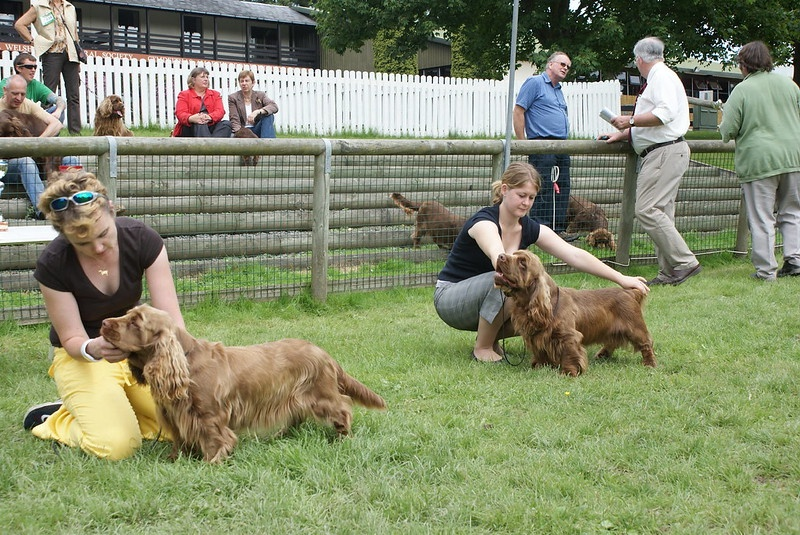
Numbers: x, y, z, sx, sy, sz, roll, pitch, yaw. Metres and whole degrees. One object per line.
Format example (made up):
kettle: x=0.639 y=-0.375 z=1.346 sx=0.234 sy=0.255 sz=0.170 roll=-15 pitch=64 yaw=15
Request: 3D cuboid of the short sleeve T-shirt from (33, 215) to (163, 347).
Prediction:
short sleeve T-shirt: x=-2.352 y=0.107 z=6.750 sx=0.947 sy=0.933 sz=0.509 roll=-20 pitch=61 yaw=-36

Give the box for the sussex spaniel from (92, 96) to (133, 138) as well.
sussex spaniel: x=-3.950 y=-2.052 z=11.706 sx=0.415 sy=0.531 sz=0.579 roll=-3 pitch=11 yaw=-20

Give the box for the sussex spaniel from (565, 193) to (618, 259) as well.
sussex spaniel: x=2.563 y=-0.603 z=11.680 sx=0.389 sy=0.670 sz=1.242 roll=-9 pitch=19 yaw=-11

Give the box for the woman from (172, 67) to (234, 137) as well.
woman: x=-2.969 y=-2.306 z=12.981 sx=0.817 sy=1.384 sz=0.722 roll=10 pitch=11 yaw=35

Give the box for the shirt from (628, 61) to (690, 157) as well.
shirt: x=3.222 y=-1.949 z=10.685 sx=0.689 sy=1.144 sz=1.308 roll=4 pitch=7 yaw=15

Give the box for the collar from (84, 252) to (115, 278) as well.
collar: x=-2.365 y=-0.005 z=6.784 sx=0.153 sy=0.234 sz=0.083 roll=-4 pitch=19 yaw=-3

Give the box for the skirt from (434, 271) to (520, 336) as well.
skirt: x=0.700 y=0.260 z=8.282 sx=0.619 sy=0.283 sz=0.650 roll=12 pitch=0 yaw=6

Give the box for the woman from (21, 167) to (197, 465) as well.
woman: x=-2.293 y=0.371 z=6.898 sx=1.434 sy=2.277 sz=1.203 roll=13 pitch=24 yaw=15

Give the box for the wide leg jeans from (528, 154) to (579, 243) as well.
wide leg jeans: x=1.896 y=-0.939 z=10.952 sx=0.388 sy=0.953 sz=0.283 roll=2 pitch=1 yaw=-31

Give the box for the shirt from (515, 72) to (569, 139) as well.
shirt: x=2.062 y=-2.147 z=11.802 sx=0.938 sy=1.019 sz=0.567 roll=6 pitch=-5 yaw=-42
